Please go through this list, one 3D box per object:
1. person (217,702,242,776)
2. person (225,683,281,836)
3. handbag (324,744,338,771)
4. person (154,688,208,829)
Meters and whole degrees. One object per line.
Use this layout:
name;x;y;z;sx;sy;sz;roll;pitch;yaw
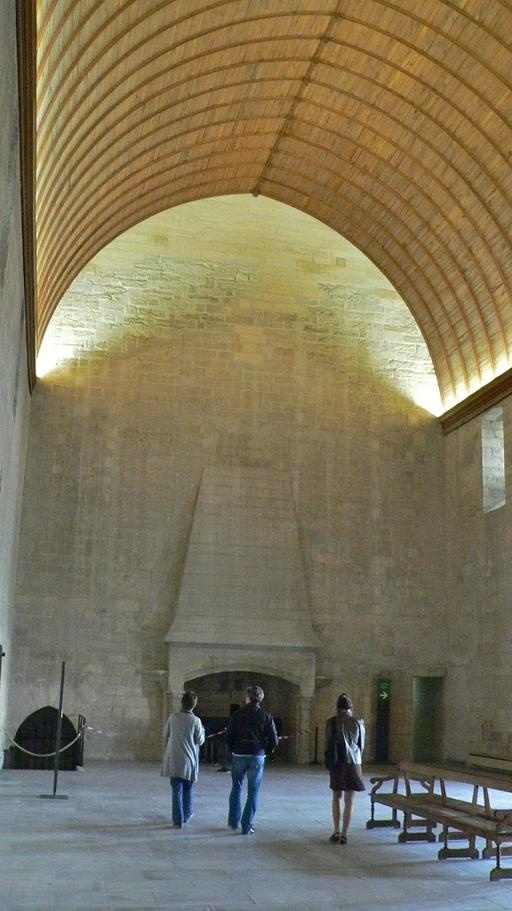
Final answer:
person;-0.419;4.669;14.250;0.286;1.198;0.347;3;17;-40
person;-0.038;2.801;8.063;0.425;1.300;0.896;2;-12;1
handbag;0.654;2.671;7.704;0.047;0.185;0.127;7;-7;-9
person;-0.689;2.827;8.166;0.351;1.204;0.963;3;-12;-3
